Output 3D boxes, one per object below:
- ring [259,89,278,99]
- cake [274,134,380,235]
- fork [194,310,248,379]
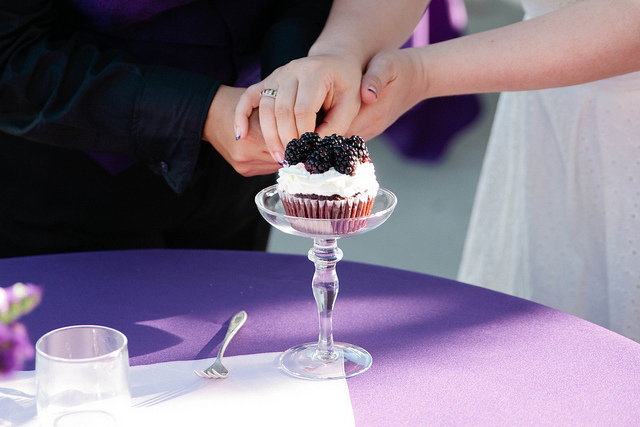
[{"bbox_3d":[-0.164,-0.390,1.646,0.062,0.034,0.027,1,10,23],"label":"ring"},{"bbox_3d":[0.037,-0.104,1.494,0.295,0.242,0.330,3,20,4],"label":"cake"},{"bbox_3d":[-0.225,0.306,1.220,0.045,0.030,0.178,8,38,11],"label":"fork"}]
